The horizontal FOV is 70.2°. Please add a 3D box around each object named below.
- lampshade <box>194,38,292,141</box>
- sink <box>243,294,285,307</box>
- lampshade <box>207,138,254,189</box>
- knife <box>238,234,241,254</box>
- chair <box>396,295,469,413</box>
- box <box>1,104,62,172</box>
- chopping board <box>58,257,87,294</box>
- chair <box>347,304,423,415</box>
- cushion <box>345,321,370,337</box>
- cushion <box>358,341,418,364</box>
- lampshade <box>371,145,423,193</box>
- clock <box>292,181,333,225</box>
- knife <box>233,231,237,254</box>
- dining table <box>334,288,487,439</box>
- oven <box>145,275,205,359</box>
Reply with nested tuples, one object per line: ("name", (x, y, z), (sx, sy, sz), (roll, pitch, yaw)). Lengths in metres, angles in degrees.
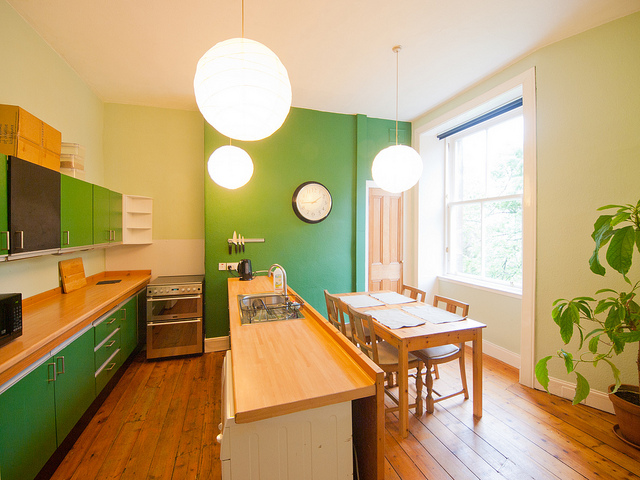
("lampshade", (-0.558, -1.100, 3.305), (0.652, 0.664, 0.216), (-1, 2, -10))
("sink", (-0.556, 0.601, 4.478), (0.403, 0.098, 0.176), (-1, 2, -6))
("lampshade", (-0.896, -0.761, 4.622), (0.298, 0.445, 0.393), (5, 3, -11))
("knife", (-1.011, 0.046, 5.698), (0.034, 0.228, 0.051), (-1, 2, -11))
("chair", (1.223, 1.250, 4.807), (0.656, 1.273, 0.653), (0, 1, -26))
("box", (-2.545, -0.915, 4.056), (0.332, 0.434, 0.528), (5, 4, -8))
("chopping board", (-2.646, 0.372, 4.942), (0.339, 0.340, 0.035), (-13, -4, 25))
("chair", (0.598, 1.163, 4.490), (0.662, 1.070, 0.677), (-3, 2, -40))
("cushion", (0.373, 0.885, 4.500), (0.236, 0.061, 0.228), (-2, 1, -6))
("cushion", (0.626, 1.038, 4.168), (0.281, 0.077, 0.309), (-1, 2, -19))
("lampshade", (0.754, -0.668, 4.608), (0.405, 0.477, 0.458), (5, 4, 0))
("clock", (-0.092, -0.487, 5.988), (0.550, 0.552, 0.059), (-2, 2, -23))
("knife", (-1.061, 0.034, 5.673), (0.050, 0.267, 0.044), (-2, 2, -15))
("dining table", (0.806, 1.159, 4.928), (0.869, 0.876, 1.721), (-3, 7, -22))
("oven", (-1.767, 1.125, 5.557), (0.703, 0.966, 0.693), (-7, -35, -10))
